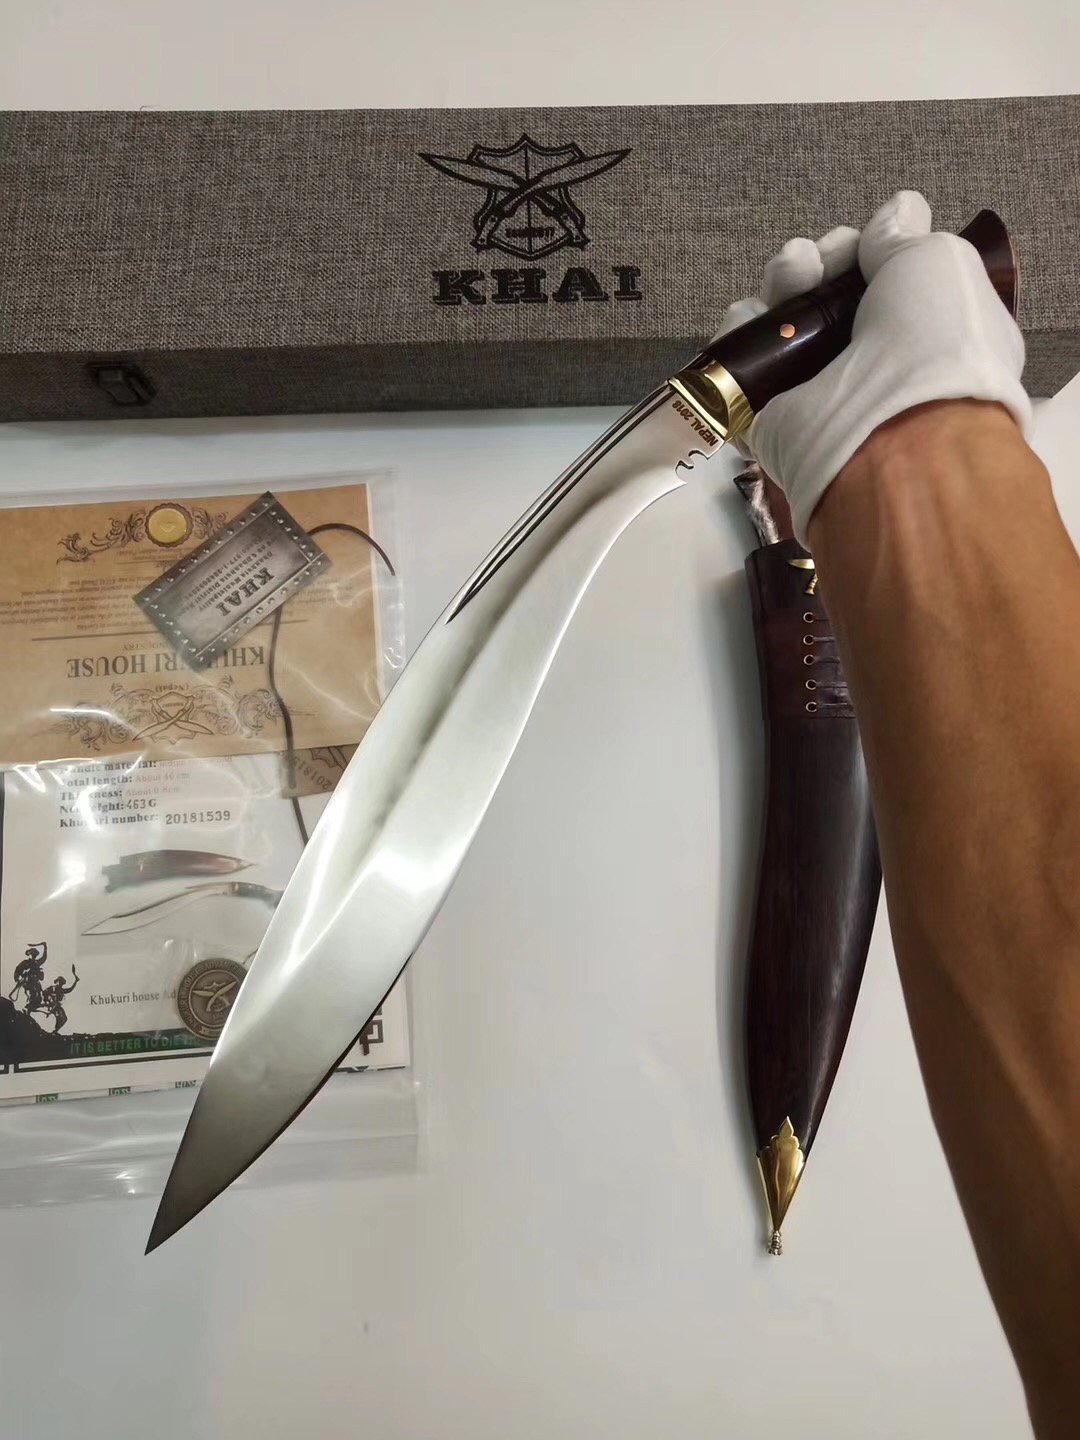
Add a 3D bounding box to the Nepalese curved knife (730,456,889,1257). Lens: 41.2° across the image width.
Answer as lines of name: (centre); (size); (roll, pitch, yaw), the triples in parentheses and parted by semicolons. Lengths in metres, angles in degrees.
Nepalese curved knife: (0.208, 0.104, 1.153); (0.135, 0.050, 0.579); (2, 73, 11)
